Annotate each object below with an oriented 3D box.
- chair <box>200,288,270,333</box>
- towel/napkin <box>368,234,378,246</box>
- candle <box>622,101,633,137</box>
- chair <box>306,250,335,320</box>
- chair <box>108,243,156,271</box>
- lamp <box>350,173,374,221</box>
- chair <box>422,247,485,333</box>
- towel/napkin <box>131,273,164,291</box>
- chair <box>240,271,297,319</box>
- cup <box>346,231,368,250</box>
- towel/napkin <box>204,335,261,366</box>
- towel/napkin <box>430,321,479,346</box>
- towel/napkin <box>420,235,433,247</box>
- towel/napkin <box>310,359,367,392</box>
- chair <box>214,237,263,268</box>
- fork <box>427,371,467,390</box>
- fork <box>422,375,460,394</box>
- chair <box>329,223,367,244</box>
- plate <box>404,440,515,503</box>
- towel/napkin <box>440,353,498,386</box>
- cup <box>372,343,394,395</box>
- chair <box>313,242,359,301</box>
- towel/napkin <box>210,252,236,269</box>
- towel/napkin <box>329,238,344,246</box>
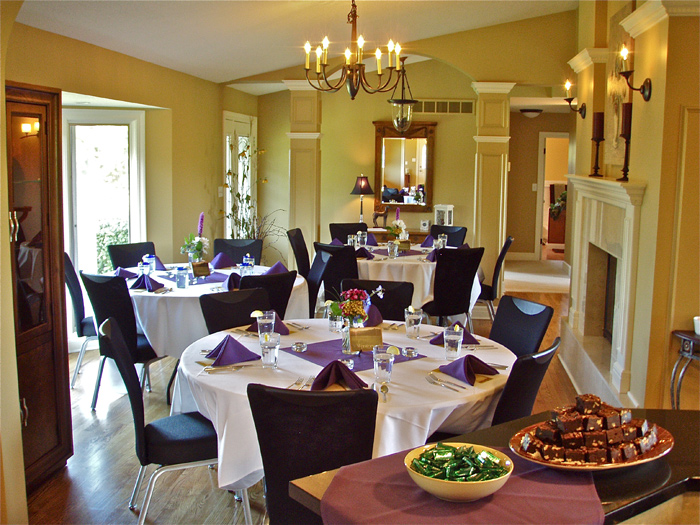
[{"bbox_3d":[-0.777,0.231,3.524,0.300,0.427,0.313,-8,9,-30],"label":"chair"},{"bbox_3d":[0.265,-0.283,6.501,0.131,0.137,0.279,-3,7,3],"label":"towel/napkin"},{"bbox_3d":[1.916,-0.982,3.715,0.053,0.238,0.179,1,8,26],"label":"candle"},{"bbox_3d":[-0.300,0.198,5.134,0.240,0.594,0.497,-2,7,4],"label":"chair"},{"bbox_3d":[-2.120,-0.107,5.191,0.305,0.444,0.321,-4,4,-41],"label":"chair"},{"bbox_3d":[0.206,-1.081,8.864,0.364,0.780,0.538,-2,8,3],"label":"lamp"},{"bbox_3d":[0.961,0.218,4.990,0.548,0.730,0.407,-3,8,1],"label":"chair"},{"bbox_3d":[-1.570,0.158,4.093,0.151,0.083,0.179,1,-2,-40],"label":"towel/napkin"},{"bbox_3d":[-0.653,0.161,4.134,0.331,0.475,0.369,-3,23,-16],"label":"chair"},{"bbox_3d":[0.064,-0.262,6.261,0.266,0.203,0.187,-1,5,-1],"label":"cup"},{"bbox_3d":[-0.587,0.443,2.636,0.162,0.083,0.170,-1,8,16],"label":"towel/napkin"},{"bbox_3d":[0.650,0.442,3.379,0.336,0.161,0.357,0,-7,4],"label":"towel/napkin"},{"bbox_3d":[0.927,-0.263,6.439,0.139,0.127,0.327,-2,7,10],"label":"towel/napkin"},{"bbox_3d":[-0.050,0.485,2.275,0.143,0.068,0.147,-3,2,15],"label":"towel/napkin"},{"bbox_3d":[-1.161,-0.126,5.485,0.342,0.483,0.359,2,8,-4],"label":"chair"},{"bbox_3d":[0.432,0.537,2.445,0.062,0.025,0.163,-18,16,-23],"label":"fork"},{"bbox_3d":[0.410,0.543,2.411,0.045,0.032,0.199,-20,19,-15],"label":"fork"},{"bbox_3d":[-0.014,-0.446,7.324,0.347,0.477,0.363,2,5,20],"label":"chair"},{"bbox_3d":[0.282,0.539,1.377,0.260,0.089,0.183,-2,7,14],"label":"plate"},{"bbox_3d":[0.553,0.466,2.505,0.156,0.075,0.151,5,6,43],"label":"towel/napkin"},{"bbox_3d":[0.149,0.464,2.413,0.087,0.173,0.287,-2,7,3],"label":"cup"},{"bbox_3d":[-0.106,0.042,5.465,0.432,0.862,0.490,3,16,11],"label":"chair"},{"bbox_3d":[-1.195,-0.015,4.936,0.184,0.097,0.169,3,7,-2],"label":"towel/napkin"},{"bbox_3d":[-0.169,-0.225,6.216,0.151,0.072,0.154,-11,24,-30],"label":"towel/napkin"}]
